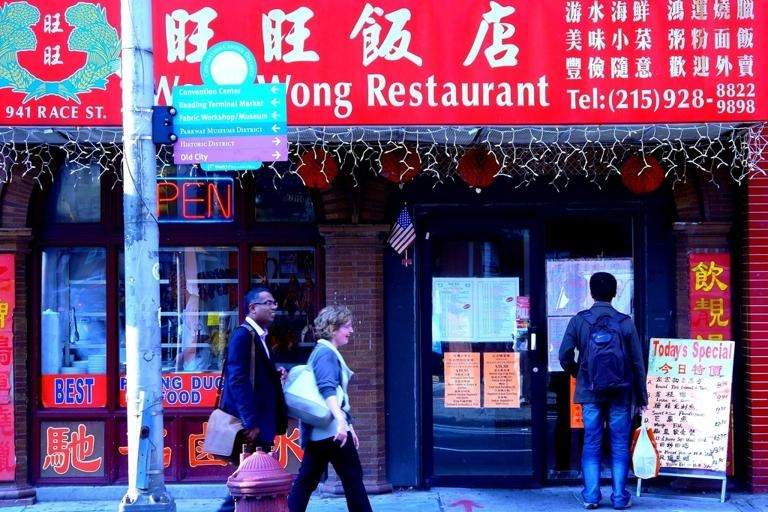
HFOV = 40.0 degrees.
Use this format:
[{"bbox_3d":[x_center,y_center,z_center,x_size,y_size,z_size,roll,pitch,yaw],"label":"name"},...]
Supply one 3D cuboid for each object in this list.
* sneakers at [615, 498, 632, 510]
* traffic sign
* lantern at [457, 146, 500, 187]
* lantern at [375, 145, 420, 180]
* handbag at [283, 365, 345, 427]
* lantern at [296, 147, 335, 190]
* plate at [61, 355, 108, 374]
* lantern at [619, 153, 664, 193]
[{"bbox_3d":[2.533,2.619,11.142,0.132,0.094,0.327,-5,-6,45],"label":"sneakers"},{"bbox_3d":[-1.478,-1.229,9.923,0.857,0.541,0.016,0,-10,-5],"label":"traffic sign"},{"bbox_3d":[1.011,-0.916,11.348,0.429,0.466,0.430,-4,-6,35],"label":"lantern"},{"bbox_3d":[0.161,-0.969,11.138,0.370,0.260,0.378,1,-6,2],"label":"lantern"},{"bbox_3d":[-0.689,1.326,9.933,0.547,0.581,0.151,-1,-5,12],"label":"handbag"},{"bbox_3d":[-0.716,-0.942,11.223,0.399,0.395,0.165,-2,-5,18],"label":"lantern"},{"bbox_3d":[-3.347,1.210,11.794,0.469,0.217,0.051,0,-5,0],"label":"plate"},{"bbox_3d":[2.776,-0.880,11.432,0.428,0.394,0.415,0,-2,3],"label":"lantern"}]
